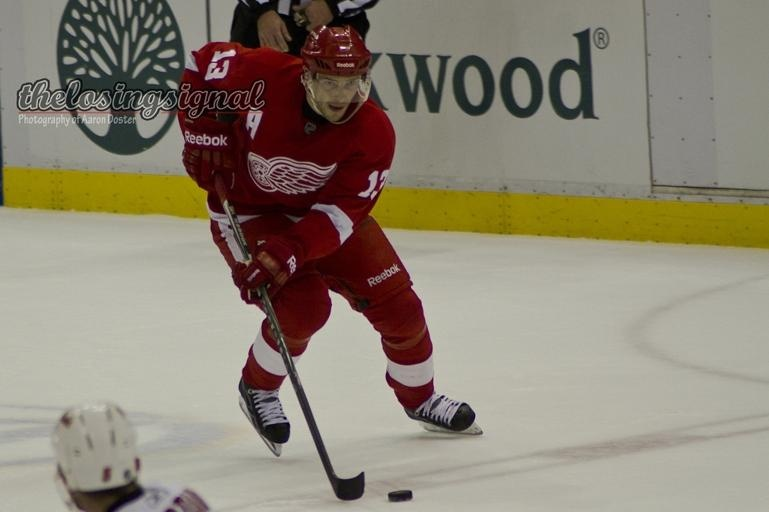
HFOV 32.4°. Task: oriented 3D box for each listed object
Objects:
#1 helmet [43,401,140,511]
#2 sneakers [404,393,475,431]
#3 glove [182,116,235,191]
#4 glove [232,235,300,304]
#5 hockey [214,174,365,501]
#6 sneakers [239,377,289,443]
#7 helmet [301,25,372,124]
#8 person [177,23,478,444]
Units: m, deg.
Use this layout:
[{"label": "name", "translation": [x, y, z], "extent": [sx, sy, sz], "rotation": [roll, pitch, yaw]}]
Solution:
[{"label": "helmet", "translation": [-1.141, 0.735, 5.240], "extent": [0.307, 0.406, 0.422], "rotation": [-4, 23, -16]}, {"label": "sneakers", "translation": [0.269, 0.754, 6.433], "extent": [0.333, 0.143, 0.153], "rotation": [11, -26, 32]}, {"label": "glove", "translation": [-0.838, -0.479, 6.248], "extent": [0.293, 0.311, 0.128], "rotation": [4, 21, 8]}, {"label": "glove", "translation": [-0.549, 0.046, 6.078], "extent": [0.290, 0.292, 0.126], "rotation": [-44, 28, -17]}, {"label": "hockey", "translation": [-0.457, 0.401, 6.274], "extent": [0.193, 1.536, 0.171], "rotation": [-16, -18, -19]}, {"label": "sneakers", "translation": [-0.576, 0.759, 6.304], "extent": [0.125, 0.397, 0.164], "rotation": [-24, -7, -19]}, {"label": "helmet", "translation": [-0.241, -0.829, 6.094], "extent": [0.312, 0.425, 0.418], "rotation": [-8, 36, -14]}, {"label": "person", "translation": [-0.270, -0.130, 6.419], "extent": [1.459, 2.056, 1.038], "rotation": [5, 23, 8]}]
